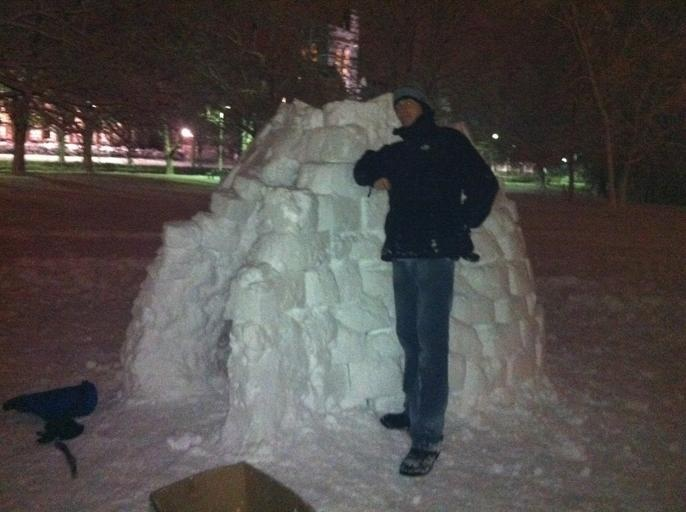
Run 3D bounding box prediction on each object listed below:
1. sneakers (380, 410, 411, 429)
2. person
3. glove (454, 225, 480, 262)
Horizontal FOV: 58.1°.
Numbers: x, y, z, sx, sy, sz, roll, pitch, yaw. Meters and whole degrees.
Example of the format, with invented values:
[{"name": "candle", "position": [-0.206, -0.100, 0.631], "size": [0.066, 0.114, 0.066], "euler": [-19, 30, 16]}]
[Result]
[{"name": "sneakers", "position": [0.401, 1.241, 4.689], "size": [0.208, 0.089, 0.112], "euler": [4, 1, 28]}, {"name": "person", "position": [0.649, 0.136, 4.411], "size": [0.837, 2.614, 0.964], "euler": [-1, 14, -7]}, {"name": "glove", "position": [0.900, -0.088, 4.452], "size": [0.089, 0.245, 0.183], "euler": [-7, -8, 36]}]
